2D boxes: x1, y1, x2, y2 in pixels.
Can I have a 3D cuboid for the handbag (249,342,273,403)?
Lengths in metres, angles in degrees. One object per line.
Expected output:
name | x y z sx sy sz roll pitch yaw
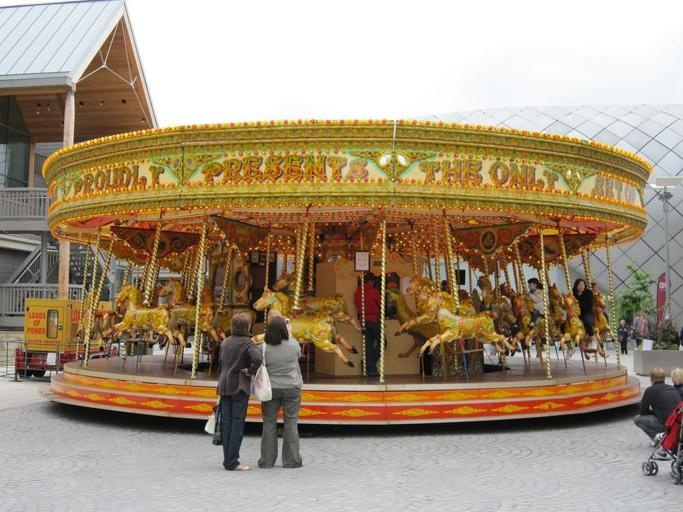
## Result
handbag | -1.092 1.591 8.428 0.271 0.786 0.345 1 -5 -8

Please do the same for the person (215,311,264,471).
person | -1.411 1.861 8.473 0.535 2.125 0.720 3 -5 -29

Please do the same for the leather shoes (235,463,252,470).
leather shoes | -1.367 2.907 8.550 0.191 0.142 0.081 -1 3 12
